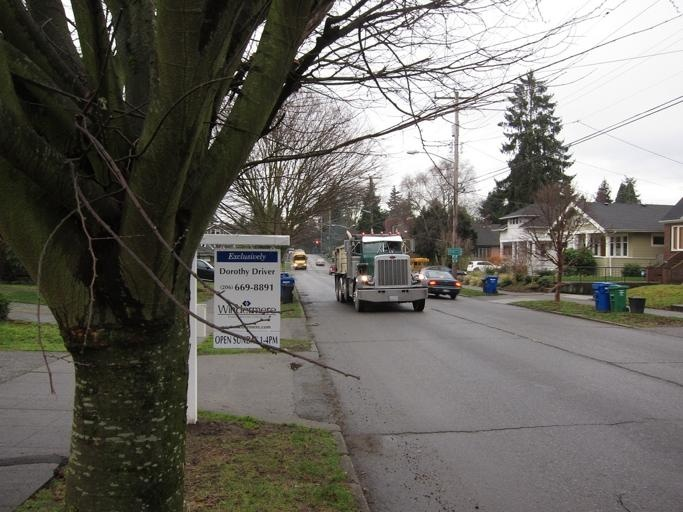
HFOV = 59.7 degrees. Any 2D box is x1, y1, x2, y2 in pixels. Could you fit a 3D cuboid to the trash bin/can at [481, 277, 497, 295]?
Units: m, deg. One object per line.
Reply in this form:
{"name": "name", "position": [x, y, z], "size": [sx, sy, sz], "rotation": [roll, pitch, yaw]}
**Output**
{"name": "trash bin/can", "position": [8.525, 1.655, 33.664], "size": [1.046, 1.020, 0.759], "rotation": [4, -5, -32]}

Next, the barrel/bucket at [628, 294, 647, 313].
{"name": "barrel/bucket", "position": [10.000, 1.629, 20.169], "size": [0.508, 0.411, 0.496], "rotation": [-2, 0, 0]}

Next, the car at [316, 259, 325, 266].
{"name": "car", "position": [-3.028, 0.887, 87.148], "size": [1.069, 0.839, 2.613], "rotation": [0, -3, -1]}

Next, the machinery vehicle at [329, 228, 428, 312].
{"name": "machinery vehicle", "position": [1.258, 0.556, 23.798], "size": [1.775, 2.123, 5.563], "rotation": [0, -2, -8]}

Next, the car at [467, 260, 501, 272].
{"name": "car", "position": [11.978, 0.931, 52.306], "size": [2.557, 0.994, 1.206], "rotation": [-3, 5, -13]}
